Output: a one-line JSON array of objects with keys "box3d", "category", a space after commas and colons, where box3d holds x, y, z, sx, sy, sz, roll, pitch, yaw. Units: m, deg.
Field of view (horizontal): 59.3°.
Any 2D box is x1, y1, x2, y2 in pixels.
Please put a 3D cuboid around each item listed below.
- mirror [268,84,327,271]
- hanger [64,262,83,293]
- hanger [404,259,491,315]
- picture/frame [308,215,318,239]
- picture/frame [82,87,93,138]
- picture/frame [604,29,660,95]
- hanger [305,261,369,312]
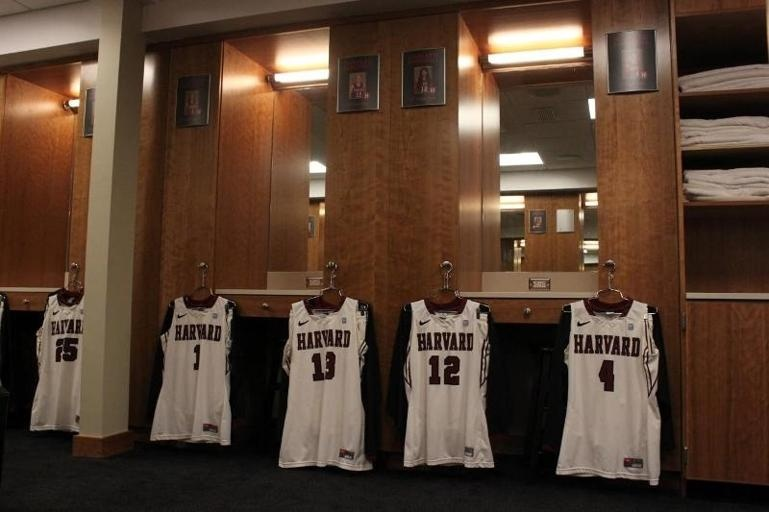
[{"box3d": [-0.863, -0.749, 6.517, 0.497, 1.751, 0.470, 0, 5, -8], "category": "mirror"}, {"box3d": [-2.879, 0.183, 6.276, 0.207, 0.271, 0.119, 1, 5, 7], "category": "hanger"}, {"box3d": [0.497, 0.238, 5.340, 0.376, 0.404, 0.175, 1, 5, 6], "category": "hanger"}, {"box3d": [-0.680, -0.278, 6.431, 0.067, 0.204, 0.142, -2, 6, -33], "category": "picture/frame"}, {"box3d": [-2.775, -1.353, 6.348, 0.099, 0.470, 0.198, -1, 5, -23], "category": "picture/frame"}, {"box3d": [1.960, -1.511, 5.275, 0.472, 0.636, 0.348, -1, -7, 18], "category": "picture/frame"}, {"box3d": [-0.368, 0.262, 5.592, 0.401, 0.277, 0.041, 1, -1, 24], "category": "hanger"}]
